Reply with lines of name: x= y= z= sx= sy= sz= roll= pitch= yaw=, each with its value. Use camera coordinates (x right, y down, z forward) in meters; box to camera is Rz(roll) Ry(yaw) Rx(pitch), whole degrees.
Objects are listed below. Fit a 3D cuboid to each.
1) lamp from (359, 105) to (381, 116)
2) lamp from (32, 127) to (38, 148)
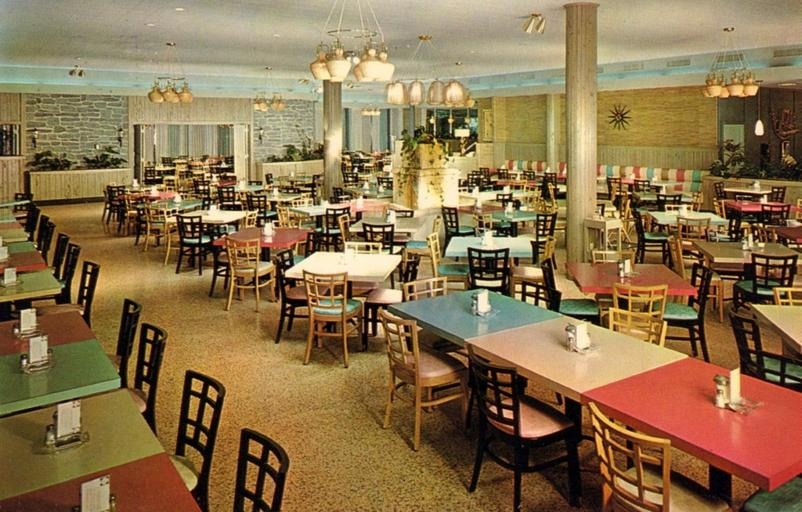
lamp: x=-1.223 y=-6.067 z=23.052 sx=0.892 sy=0.218 sz=0.759 roll=1 pitch=11 yaw=3
lamp: x=-11.751 y=-3.802 z=17.636 sx=0.233 sy=0.571 sz=0.072 roll=-8 pitch=13 yaw=-25
